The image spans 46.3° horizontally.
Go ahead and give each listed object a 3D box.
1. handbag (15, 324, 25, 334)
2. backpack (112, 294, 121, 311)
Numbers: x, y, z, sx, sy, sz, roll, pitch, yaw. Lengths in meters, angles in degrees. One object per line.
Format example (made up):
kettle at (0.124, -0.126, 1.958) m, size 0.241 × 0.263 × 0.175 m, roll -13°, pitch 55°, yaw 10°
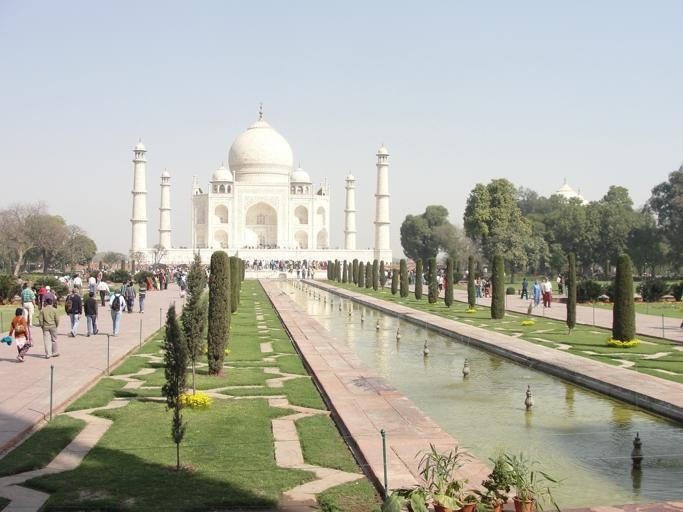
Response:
handbag at (-6.269, 1.436, 15.643) m, size 0.154 × 0.196 × 0.207 m, roll 0°, pitch -6°, yaw -23°
backpack at (-5.472, 1.115, 19.380) m, size 0.255 × 0.397 × 0.126 m, roll 1°, pitch 4°, yaw 16°
